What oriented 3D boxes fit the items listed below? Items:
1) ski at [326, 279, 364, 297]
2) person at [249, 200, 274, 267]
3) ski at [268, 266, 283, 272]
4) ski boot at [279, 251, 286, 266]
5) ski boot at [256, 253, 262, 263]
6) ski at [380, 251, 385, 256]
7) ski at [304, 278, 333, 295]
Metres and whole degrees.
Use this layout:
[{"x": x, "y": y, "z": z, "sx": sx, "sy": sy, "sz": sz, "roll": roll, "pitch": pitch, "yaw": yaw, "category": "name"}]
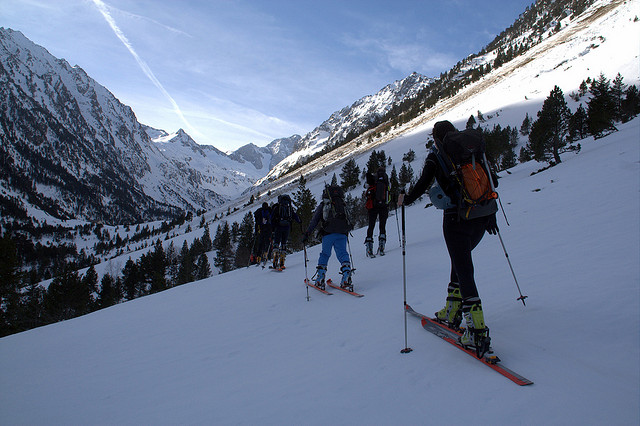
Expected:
[{"x": 0.756, "y": 2.255, "z": 13.803, "sx": 0.251, "sy": 0.279, "sz": 2.357, "roll": 3, "pitch": 5, "yaw": -22, "category": "ski"}, {"x": -2.336, "y": 0.798, "z": 19.583, "sx": 0.935, "sy": 2.774, "sz": 0.899, "roll": 0, "pitch": -2, "yaw": -32, "category": "person"}, {"x": -1.770, "y": 2.227, "z": 18.388, "sx": 0.116, "sy": 0.124, "sz": 0.848, "roll": -52, "pitch": 29, "yaw": -21, "category": "ski"}, {"x": -1.529, "y": 1.823, "z": 18.490, "sx": 0.305, "sy": 0.542, "sz": 0.382, "roll": -6, "pitch": -1, "yaw": -29, "category": "ski boot"}, {"x": -2.613, "y": 1.863, "z": 19.586, "sx": 0.211, "sy": 0.317, "sz": 0.465, "roll": -6, "pitch": -1, "yaw": -6, "category": "ski boot"}, {"x": 2.381, "y": 1.536, "z": 17.458, "sx": 0.163, "sy": 0.093, "sz": 0.175, "roll": 0, "pitch": 37, "yaw": 2, "category": "ski"}, {"x": -0.102, "y": 2.190, "z": 14.306, "sx": 0.249, "sy": 0.197, "sz": 2.291, "roll": 2, "pitch": 4, "yaw": -25, "category": "ski"}]
